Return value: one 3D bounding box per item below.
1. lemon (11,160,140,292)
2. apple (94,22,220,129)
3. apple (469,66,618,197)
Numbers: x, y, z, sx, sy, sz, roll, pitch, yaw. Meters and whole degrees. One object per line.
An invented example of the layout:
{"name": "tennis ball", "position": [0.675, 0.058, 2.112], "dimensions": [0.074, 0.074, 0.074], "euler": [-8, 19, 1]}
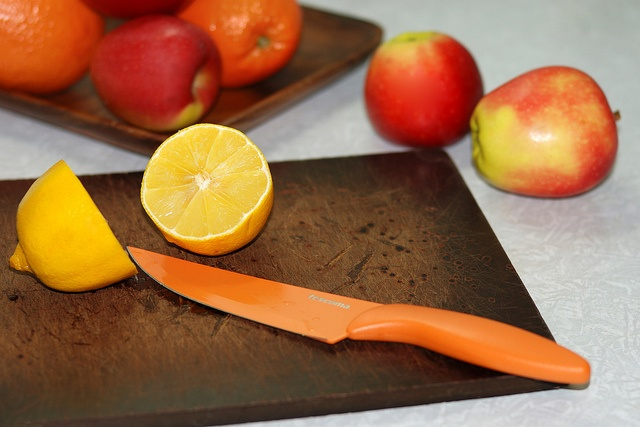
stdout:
{"name": "lemon", "position": [-0.494, 0.049, 1.219], "dimensions": [0.177, 0.254, 0.095], "euler": [-35, -10, -7]}
{"name": "apple", "position": [-0.412, -0.320, 1.550], "dimensions": [0.247, 0.295, 0.240], "euler": [10, -24, -32]}
{"name": "apple", "position": [0.485, -0.194, 1.486], "dimensions": [0.300, 0.257, 0.263], "euler": [-7, 26, 0]}
